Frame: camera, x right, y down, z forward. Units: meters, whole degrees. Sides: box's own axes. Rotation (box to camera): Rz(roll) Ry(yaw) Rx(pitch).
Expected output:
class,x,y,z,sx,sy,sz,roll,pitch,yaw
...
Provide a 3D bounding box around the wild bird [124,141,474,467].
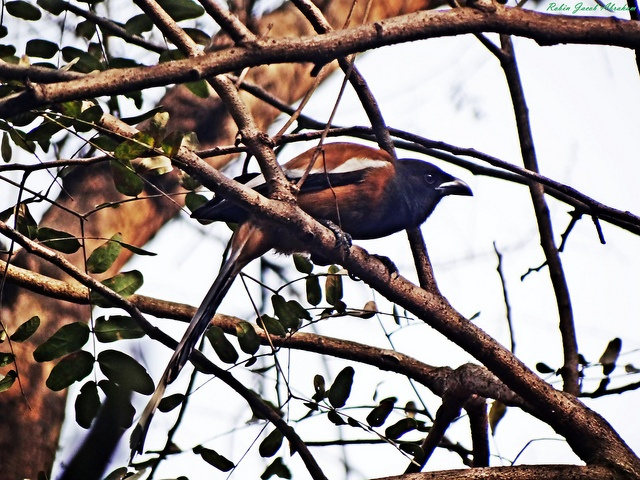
class,x,y,z,sx,sy,sz,roll,pitch,yaw
wild bird,-0.191,0.039,5.308,2.236,0.856,0.500,-15,-21,-19
